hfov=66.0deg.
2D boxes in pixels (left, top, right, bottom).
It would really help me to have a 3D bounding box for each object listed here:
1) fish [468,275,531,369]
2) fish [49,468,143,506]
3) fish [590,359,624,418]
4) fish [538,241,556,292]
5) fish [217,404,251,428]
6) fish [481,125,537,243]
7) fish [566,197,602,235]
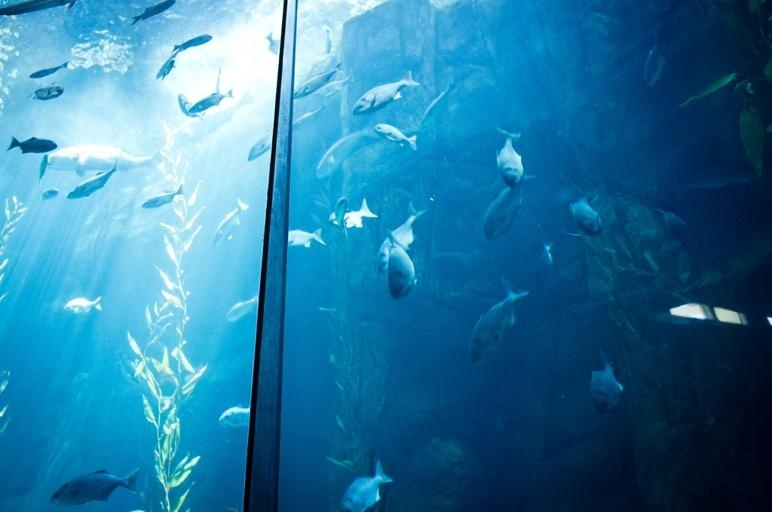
[{"bbox_3d":[0.908,0.526,4.768,0.296,0.743,0.100,30,-9,25],"label":"fish"},{"bbox_3d":[-2.374,1.900,4.884,0.767,0.243,0.247,-10,-18,9],"label":"fish"},{"bbox_3d":[1.651,1.004,4.526,0.198,0.379,0.246,1,-33,-4],"label":"fish"},{"bbox_3d":[1.276,0.065,4.717,0.103,0.356,0.066,1,-11,9],"label":"fish"},{"bbox_3d":[-1.303,1.362,5.040,0.293,0.181,0.110,-10,-18,10],"label":"fish"},{"bbox_3d":[1.000,-0.580,4.834,0.287,0.914,0.340,7,7,19],"label":"fish"},{"bbox_3d":[1.593,-0.300,4.729,0.182,0.303,0.093,-20,-12,16],"label":"fish"}]
